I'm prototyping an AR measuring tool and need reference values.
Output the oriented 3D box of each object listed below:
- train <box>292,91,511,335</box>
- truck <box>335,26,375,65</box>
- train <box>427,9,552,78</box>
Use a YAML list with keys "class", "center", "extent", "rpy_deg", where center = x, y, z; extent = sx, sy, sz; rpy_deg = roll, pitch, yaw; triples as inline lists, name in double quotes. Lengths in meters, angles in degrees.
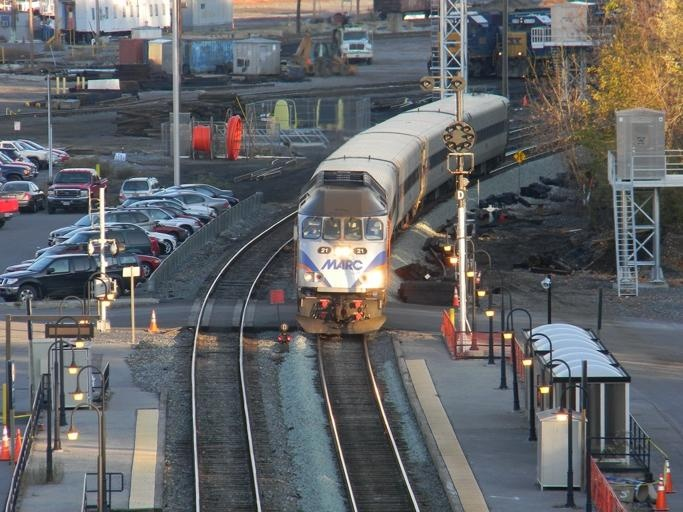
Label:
- class: "train"
  center: [3.299, -4.257, 84.509]
  extent: [4.232, 5.533, 33.603]
  rpy_deg: [0, 14, 10]
- class: "truck"
  center: [1.324, -22.294, 176.434]
  extent: [2.731, 3.736, 5.032]
  rpy_deg: [1, 6, 19]
- class: "train"
  center: [13.965, -18.979, 149.440]
  extent: [5.404, 8.119, 28.764]
  rpy_deg: [2, 8, 14]
